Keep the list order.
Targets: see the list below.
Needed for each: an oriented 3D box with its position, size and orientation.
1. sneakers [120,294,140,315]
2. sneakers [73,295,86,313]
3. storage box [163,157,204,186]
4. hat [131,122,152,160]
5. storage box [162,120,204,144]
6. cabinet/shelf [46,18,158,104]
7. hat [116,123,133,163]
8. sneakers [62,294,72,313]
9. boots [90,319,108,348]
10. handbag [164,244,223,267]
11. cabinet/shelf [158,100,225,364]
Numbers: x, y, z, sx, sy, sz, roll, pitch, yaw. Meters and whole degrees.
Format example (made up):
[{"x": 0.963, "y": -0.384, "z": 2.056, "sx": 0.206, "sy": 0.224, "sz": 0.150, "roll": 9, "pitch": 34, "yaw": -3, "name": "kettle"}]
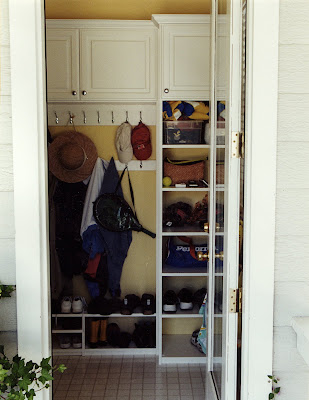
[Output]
[{"x": -0.174, "y": 0.727, "z": 3.168, "sx": 0.083, "sy": 0.049, "sz": 0.129, "roll": 2, "pitch": 16, "yaw": 5, "name": "sneakers"}, {"x": -0.530, "y": 0.729, "z": 3.153, "sx": 0.089, "sy": 0.098, "sz": 0.112, "roll": -2, "pitch": 7, "yaw": -2, "name": "sneakers"}, {"x": 0.199, "y": -0.203, "z": 3.150, "sx": 0.332, "sy": 0.174, "sz": 0.215, "roll": 0, "pitch": 7, "yaw": -5, "name": "storage box"}, {"x": -0.097, "y": -0.405, "z": 3.103, "sx": 0.151, "sy": 0.240, "sz": 0.086, "roll": -3, "pitch": 8, "yaw": -1, "name": "hat"}, {"x": 0.197, "y": -0.451, "z": 3.007, "sx": 0.197, "sy": 0.109, "sz": 0.188, "roll": 1, "pitch": 12, "yaw": 4, "name": "storage box"}, {"x": -0.430, "y": -0.924, "z": 3.085, "sx": 0.838, "sy": 0.498, "sz": 0.291, "roll": -8, "pitch": 19, "yaw": -26, "name": "cabinet/shelf"}, {"x": -0.223, "y": -0.412, "z": 3.196, "sx": 0.135, "sy": 0.286, "sz": 0.114, "roll": -1, "pitch": 8, "yaw": 9, "name": "hat"}, {"x": -0.605, "y": 0.726, "z": 3.127, "sx": 0.048, "sy": 0.051, "sz": 0.126, "roll": 0, "pitch": 6, "yaw": -5, "name": "sneakers"}, {"x": -0.392, "y": 0.920, "z": 3.136, "sx": 0.129, "sy": 0.178, "sz": 0.196, "roll": 1, "pitch": 2, "yaw": -6, "name": "boots"}, {"x": 0.236, "y": 0.353, "z": 3.088, "sx": 0.333, "sy": 0.105, "sz": 0.203, "roll": -1, "pitch": 13, "yaw": -1, "name": "handbag"}, {"x": 0.290, "y": 0.456, "z": 3.164, "sx": 0.546, "sy": 1.372, "sz": 0.203, "roll": 3, "pitch": 17, "yaw": 4, "name": "cabinet/shelf"}]
